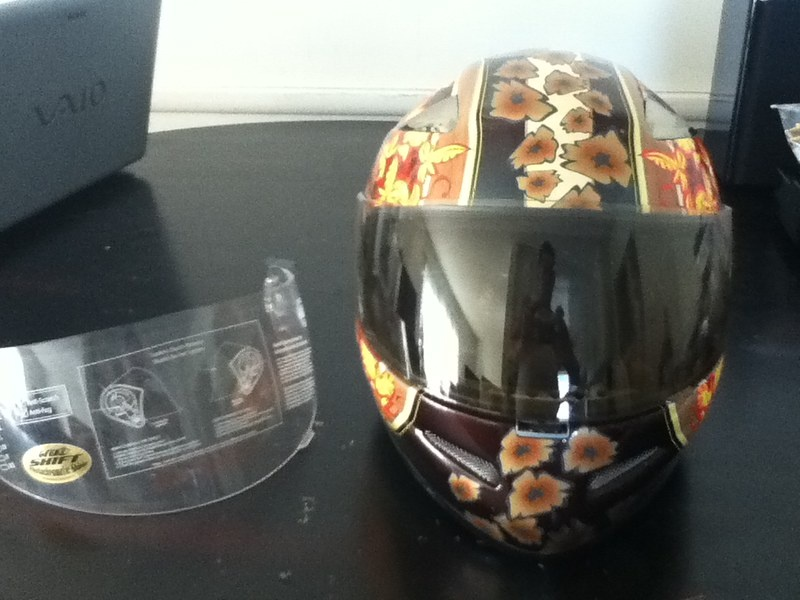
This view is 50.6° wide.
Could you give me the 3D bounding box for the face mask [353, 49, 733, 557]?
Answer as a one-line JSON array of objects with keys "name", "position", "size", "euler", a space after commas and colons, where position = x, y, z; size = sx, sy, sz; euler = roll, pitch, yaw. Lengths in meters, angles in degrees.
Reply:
[{"name": "face mask", "position": [0.171, -0.046, 1.062], "size": [0.443, 0.476, 0.600], "euler": [7, 29, 13]}]
